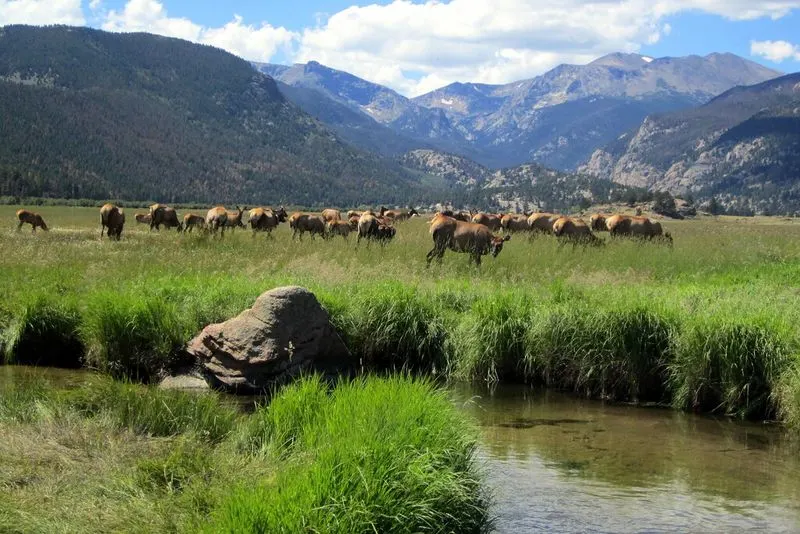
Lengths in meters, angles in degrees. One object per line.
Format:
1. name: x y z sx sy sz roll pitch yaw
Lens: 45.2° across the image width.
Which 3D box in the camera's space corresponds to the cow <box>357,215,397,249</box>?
1. cow: -1.184 -1.823 46.883 0.896 1.801 3.253 6 6 25
